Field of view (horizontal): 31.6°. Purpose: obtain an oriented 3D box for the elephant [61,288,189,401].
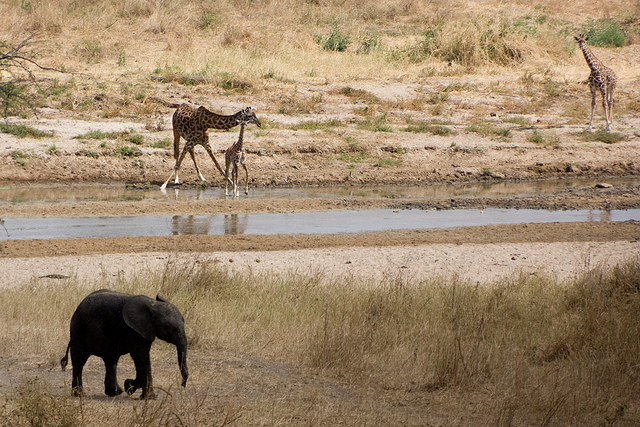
[{"bbox_3d":[-5.527,3.415,30.515,3.976,3.340,2.084,0,0,8],"label":"elephant"}]
